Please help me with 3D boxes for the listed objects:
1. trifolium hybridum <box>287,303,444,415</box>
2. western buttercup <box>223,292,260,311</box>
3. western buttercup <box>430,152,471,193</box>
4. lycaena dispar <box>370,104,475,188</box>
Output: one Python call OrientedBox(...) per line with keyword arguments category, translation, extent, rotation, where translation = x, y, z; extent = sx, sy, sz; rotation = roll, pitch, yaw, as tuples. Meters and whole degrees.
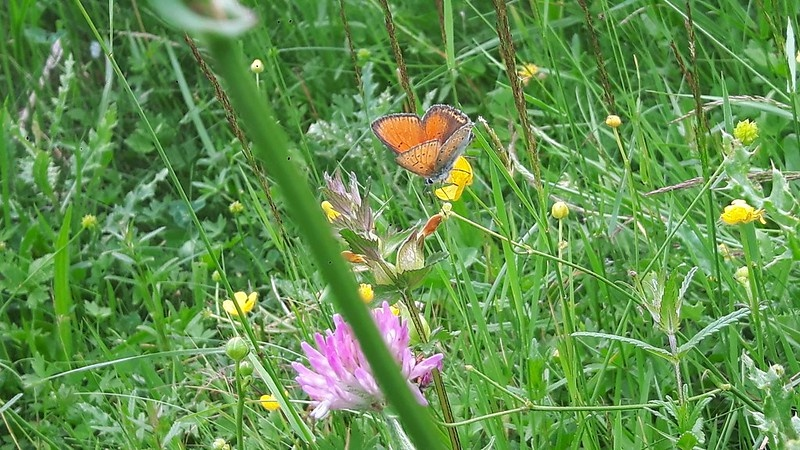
OrientedBox(category="trifolium hybridum", translation=(-0.098, 0.442, 2.459), extent=(0.403, 0.389, 0.253), rotation=(-26, 69, -28))
OrientedBox(category="western buttercup", translation=(-0.643, 0.308, 3.075), extent=(0.105, 0.061, 0.118), rotation=(-4, 25, 9))
OrientedBox(category="western buttercup", translation=(0.209, -0.191, 2.921), extent=(0.141, 0.145, 0.075), rotation=(-38, 53, 14))
OrientedBox(category="lycaena dispar", translation=(0.108, -0.328, 2.875), extent=(0.242, 0.405, 0.295), rotation=(36, 111, 26))
